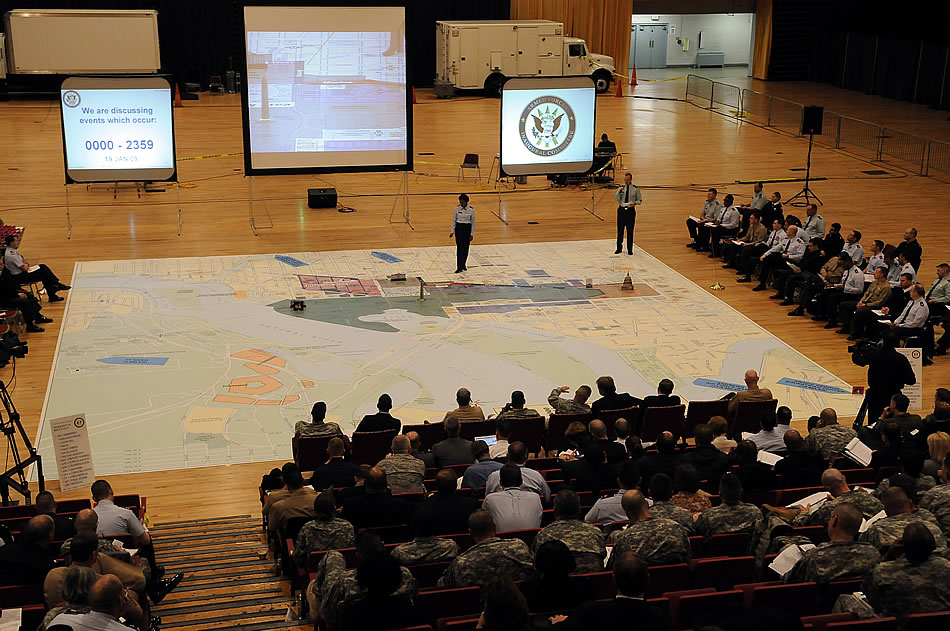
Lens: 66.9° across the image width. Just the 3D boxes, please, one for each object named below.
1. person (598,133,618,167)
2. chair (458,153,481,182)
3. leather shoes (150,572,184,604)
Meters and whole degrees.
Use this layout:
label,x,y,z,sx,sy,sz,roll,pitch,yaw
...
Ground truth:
label,x,y,z,sx,sy,sz,roll,pitch,yaw
person,4.450,-5.580,24.318,0.968,1.168,0.407,2,6,5
chair,-0.179,-5.090,24.758,0.718,0.919,1.643,-1,9,-1
leather shoes,-3.063,2.671,7.128,0.101,0.117,0.292,9,30,36
